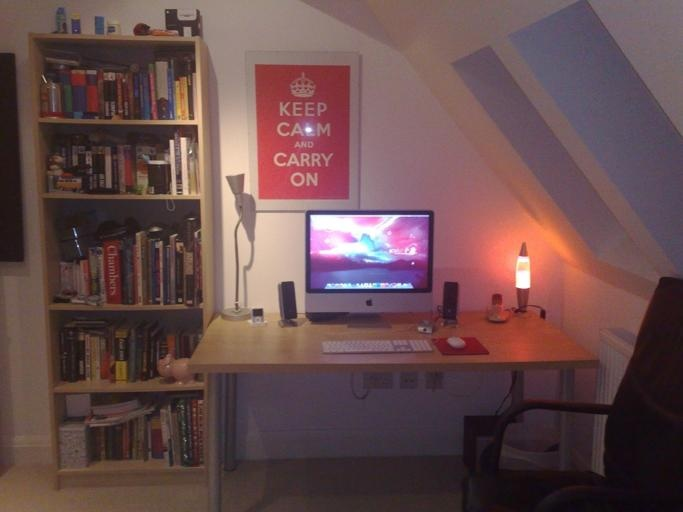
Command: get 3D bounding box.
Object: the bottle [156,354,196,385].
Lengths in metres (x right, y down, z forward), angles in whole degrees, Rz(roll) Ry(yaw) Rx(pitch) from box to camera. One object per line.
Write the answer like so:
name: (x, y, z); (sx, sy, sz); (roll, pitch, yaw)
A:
bottle: (-0.907, 0.606, 3.462); (0.228, 0.167, 0.237); (1, -2, 0)

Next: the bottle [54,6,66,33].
bottle: (-1.468, -1.232, 3.359); (0.050, 0.164, 0.205); (-2, 8, -20)

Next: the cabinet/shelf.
cabinet/shelf: (-1.180, -0.199, 3.433); (0.712, 1.853, 0.242); (1, 12, -16)

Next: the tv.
tv: (0.146, 0.064, 3.479); (0.630, 0.531, 0.225); (-1, 4, -3)

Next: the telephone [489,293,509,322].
telephone: (0.858, 0.296, 3.648); (0.107, 0.152, 0.157); (1, -2, -1)

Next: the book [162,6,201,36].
book: (-0.856, -1.248, 3.429); (0.182, 0.139, 0.065); (0, 7, -6)

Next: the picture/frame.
picture/frame: (-0.220, -0.694, 3.607); (0.620, 0.884, 0.039); (0, 7, -4)

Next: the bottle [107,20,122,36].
bottle: (-1.184, -1.184, 3.330); (0.069, 0.076, 0.072); (-1, 9, -6)

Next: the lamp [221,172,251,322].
lamp: (-0.600, -0.056, 3.593); (0.149, 0.800, 0.199); (-1, 7, -10)
